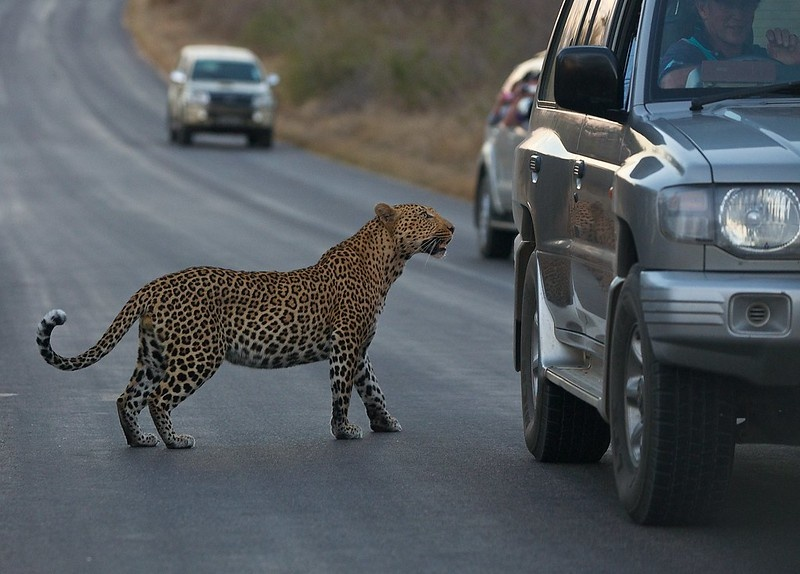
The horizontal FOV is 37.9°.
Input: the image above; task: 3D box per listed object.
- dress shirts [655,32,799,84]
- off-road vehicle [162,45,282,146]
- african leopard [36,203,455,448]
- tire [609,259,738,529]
[{"bbox_3d":[1.758,-1.218,6.322,0.586,0.346,0.403,12,20,13],"label":"dress shirts"},{"bbox_3d":[-1.687,-1.801,11.095,0.967,0.922,1.663,0,9,-16],"label":"off-road vehicle"},{"bbox_3d":[-0.848,0.197,7.695,2.543,1.722,0.856,1,6,-13],"label":"african leopard"},{"bbox_3d":[1.266,0.545,5.596,0.571,1.273,0.603,2,16,3],"label":"tire"}]
